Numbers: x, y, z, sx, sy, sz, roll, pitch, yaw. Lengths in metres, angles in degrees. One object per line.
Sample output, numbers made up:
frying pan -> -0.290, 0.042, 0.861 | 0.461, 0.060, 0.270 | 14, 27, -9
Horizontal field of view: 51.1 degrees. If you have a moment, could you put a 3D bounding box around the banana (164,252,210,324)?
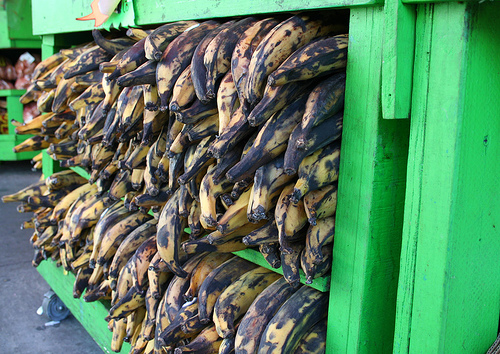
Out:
banana -> -0.221, 0.393, 1.831 | 0.062, 0.257, 0.078 | 28, -6, -37

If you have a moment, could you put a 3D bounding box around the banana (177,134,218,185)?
banana -> -0.167, -0.089, 1.699 | 0.120, 0.029, 0.056 | 36, -14, 23

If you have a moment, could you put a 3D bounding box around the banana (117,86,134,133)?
banana -> -0.447, -0.256, 1.910 | 0.046, 0.189, 0.059 | 6, -11, 1

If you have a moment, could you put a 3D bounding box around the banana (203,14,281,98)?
banana -> -0.049, -0.407, 1.695 | 0.090, 0.364, 0.123 | 38, -7, -26

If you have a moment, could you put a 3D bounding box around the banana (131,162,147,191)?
banana -> -0.427, -0.003, 2.016 | 0.042, 0.144, 0.034 | -4, -12, 30

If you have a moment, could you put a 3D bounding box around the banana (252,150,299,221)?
banana -> 0.052, 0.023, 1.596 | 0.254, 0.084, 0.070 | -53, 14, -28

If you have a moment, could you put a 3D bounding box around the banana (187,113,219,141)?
banana -> -0.151, -0.156, 1.678 | 0.102, 0.062, 0.032 | -36, -2, -2

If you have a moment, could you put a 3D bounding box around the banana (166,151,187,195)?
banana -> -0.252, -0.029, 1.804 | 0.036, 0.191, 0.045 | 11, -5, -9

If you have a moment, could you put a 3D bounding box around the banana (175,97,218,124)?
banana -> -0.168, -0.203, 1.647 | 0.115, 0.077, 0.043 | -30, -6, -18

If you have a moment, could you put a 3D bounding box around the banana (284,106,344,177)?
banana -> 0.180, -0.105, 1.512 | 0.056, 0.049, 0.225 | -10, 35, 51

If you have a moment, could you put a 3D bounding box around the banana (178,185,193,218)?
banana -> -0.223, 0.085, 1.782 | 0.029, 0.136, 0.042 | 1, -33, -8

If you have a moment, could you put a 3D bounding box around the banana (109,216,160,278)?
banana -> -0.455, 0.284, 2.048 | 0.060, 0.096, 0.264 | 20, 59, 39

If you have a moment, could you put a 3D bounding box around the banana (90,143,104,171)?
banana -> -0.632, -0.084, 2.160 | 0.021, 0.111, 0.025 | 7, -13, 4

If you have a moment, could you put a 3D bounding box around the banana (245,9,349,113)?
banana -> 0.137, -0.329, 1.533 | 0.090, 0.070, 0.346 | -3, 47, 52

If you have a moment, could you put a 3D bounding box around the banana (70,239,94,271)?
banana -> -0.740, 0.342, 2.302 | 0.046, 0.146, 0.039 | 26, -18, 20

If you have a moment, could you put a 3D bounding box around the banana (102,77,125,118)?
banana -> -0.499, -0.291, 1.914 | 0.035, 0.148, 0.047 | 21, -2, 25

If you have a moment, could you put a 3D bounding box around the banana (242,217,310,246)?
banana -> 0.083, 0.164, 1.572 | 0.133, 0.044, 0.052 | -15, -22, -10

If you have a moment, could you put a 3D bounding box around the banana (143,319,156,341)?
banana -> -0.380, 0.578, 1.964 | 0.047, 0.104, 0.050 | -6, 12, -21

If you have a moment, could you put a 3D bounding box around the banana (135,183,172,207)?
banana -> -0.327, 0.066, 1.959 | 0.191, 0.083, 0.057 | -3, 19, -27

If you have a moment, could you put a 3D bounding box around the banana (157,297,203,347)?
banana -> -0.250, 0.507, 1.788 | 0.257, 0.100, 0.071 | -42, -32, 27

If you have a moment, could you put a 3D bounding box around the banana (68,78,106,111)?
banana -> -0.649, -0.331, 2.095 | 0.156, 0.059, 0.041 | -44, 54, -16

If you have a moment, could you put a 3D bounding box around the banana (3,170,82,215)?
banana -> -1.271, 0.099, 3.151 | 0.384, 0.129, 0.167 | -29, 36, -1

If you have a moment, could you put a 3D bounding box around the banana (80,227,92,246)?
banana -> -0.754, 0.288, 2.381 | 0.025, 0.139, 0.037 | 9, 37, -26

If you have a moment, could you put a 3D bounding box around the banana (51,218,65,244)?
banana -> -0.913, 0.255, 2.484 | 0.025, 0.134, 0.031 | 36, -35, -30

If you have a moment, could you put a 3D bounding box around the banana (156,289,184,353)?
banana -> -0.287, 0.527, 1.890 | 0.076, 0.279, 0.065 | -15, -23, 39

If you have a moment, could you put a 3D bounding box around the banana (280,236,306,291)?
banana -> 0.126, 0.261, 1.577 | 0.044, 0.178, 0.054 | 11, -10, 25

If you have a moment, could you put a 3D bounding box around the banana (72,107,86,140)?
banana -> -0.725, -0.226, 2.215 | 0.026, 0.150, 0.033 | 18, -21, -25

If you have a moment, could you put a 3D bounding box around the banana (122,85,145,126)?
banana -> -0.415, -0.249, 1.855 | 0.051, 0.191, 0.058 | 20, -19, -9

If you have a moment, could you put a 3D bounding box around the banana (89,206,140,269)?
banana -> -0.548, 0.249, 2.133 | 0.324, 0.083, 0.066 | -50, 17, -21

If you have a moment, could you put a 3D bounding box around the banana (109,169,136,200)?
banana -> -0.506, 0.036, 2.073 | 0.072, 0.132, 0.047 | 35, -7, 37

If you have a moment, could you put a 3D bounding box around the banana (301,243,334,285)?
banana -> 0.196, 0.264, 1.597 | 0.073, 0.147, 0.047 | 32, 10, -5
